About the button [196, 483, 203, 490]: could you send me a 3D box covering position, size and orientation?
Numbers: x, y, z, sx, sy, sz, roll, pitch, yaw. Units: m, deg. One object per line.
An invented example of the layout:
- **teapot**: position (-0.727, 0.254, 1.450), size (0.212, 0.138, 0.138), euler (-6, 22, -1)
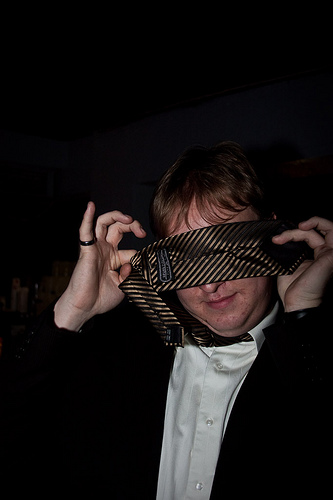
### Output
- **button**: position (0.081, 0.589, 1.128), size (0.017, 0.013, 0.011), euler (6, 15, 3)

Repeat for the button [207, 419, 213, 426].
- **button**: position (0.111, 0.446, 1.170), size (0.013, 0.013, 0.003), euler (6, -7, 16)

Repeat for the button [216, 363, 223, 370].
- **button**: position (0.144, 0.316, 1.232), size (0.018, 0.019, 0.005), euler (0, -3, 14)
